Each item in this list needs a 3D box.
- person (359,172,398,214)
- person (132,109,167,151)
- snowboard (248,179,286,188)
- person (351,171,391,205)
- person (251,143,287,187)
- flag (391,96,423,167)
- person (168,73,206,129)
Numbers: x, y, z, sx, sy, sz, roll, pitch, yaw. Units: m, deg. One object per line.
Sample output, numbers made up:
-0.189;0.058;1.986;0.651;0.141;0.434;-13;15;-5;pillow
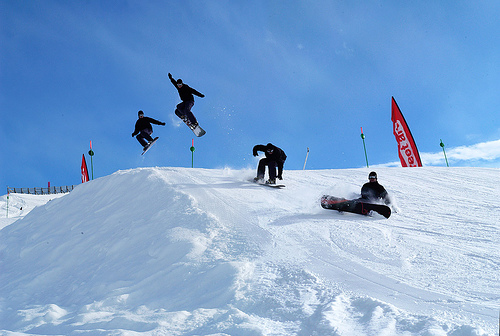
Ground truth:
4.173;0.770;14.812;0.798;1.245;0.353;9;10;39;person
-3.879;-1.428;16.920;1.490;1.223;0.575;-42;-32;27;person
0.620;0.604;17.210;0.332;0.173;1.997;1;5;-38;snowboard
3.939;0.617;14.696;0.795;1.027;2.249;2;10;27;person
0.687;-0.281;17.329;1.222;1.995;0.945;-2;34;-11;person
11.225;-2.309;33.160;1.366;7.157;0.175;-25;30;3;flag
-2.604;-2.806;18.736;1.024;2.023;1.026;-8;-6;25;person
